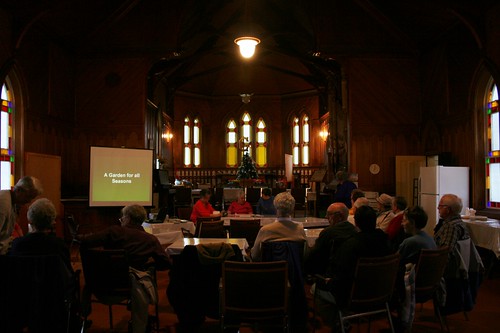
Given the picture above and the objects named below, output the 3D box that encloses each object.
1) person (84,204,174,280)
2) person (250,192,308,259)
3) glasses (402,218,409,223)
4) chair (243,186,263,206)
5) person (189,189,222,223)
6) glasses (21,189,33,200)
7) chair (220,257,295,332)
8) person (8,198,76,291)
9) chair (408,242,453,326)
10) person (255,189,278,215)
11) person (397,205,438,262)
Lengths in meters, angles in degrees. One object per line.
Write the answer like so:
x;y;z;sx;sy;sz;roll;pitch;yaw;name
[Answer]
-2.061;1.305;7.639;1.335;2.245;0.757;4;-10;-14;person
0.532;0.960;7.230;1.117;1.190;0.666;0;4;-15;person
2.471;0.859;7.052;0.061;0.060;0.052;10;-1;23;glasses
0.081;0.891;13.436;0.458;0.523;0.505;0;-2;-1;chair
-1.071;0.898;10.065;0.704;0.761;1.057;0;-3;13;person
-3.506;0.444;6.985;0.148;0.155;0.188;2;-7;-7;glasses
0.077;1.826;6.559;0.914;1.375;0.918;0;-3;1;chair
-2.979;1.097;6.396;0.910;1.272;0.291;1;-2;7;person
2.734;1.884;6.735;0.591;1.333;0.324;2;-2;-30;chair
0.464;0.860;10.733;0.554;0.798;0.527;-6;-11;35;person
2.619;1.056;7.014;0.454;0.810;0.800;-1;-8;44;person
